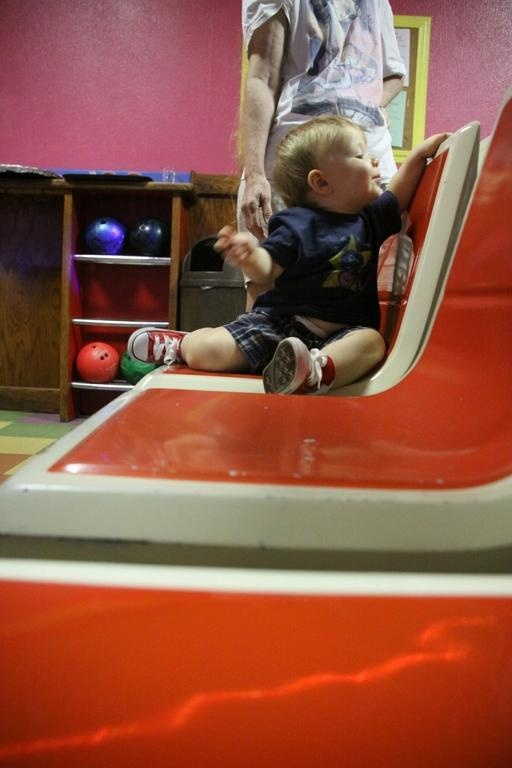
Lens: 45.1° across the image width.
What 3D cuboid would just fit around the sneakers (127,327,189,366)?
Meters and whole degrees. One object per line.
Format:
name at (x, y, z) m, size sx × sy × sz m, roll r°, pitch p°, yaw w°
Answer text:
sneakers at (-0.184, -0.069, 1.120) m, size 0.158 × 0.051 × 0.061 m, roll 1°, pitch 14°, yaw -9°

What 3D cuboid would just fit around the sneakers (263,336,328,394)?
sneakers at (0.051, -0.016, 0.765) m, size 0.050 × 0.113 × 0.038 m, roll -15°, pitch 77°, yaw -10°
